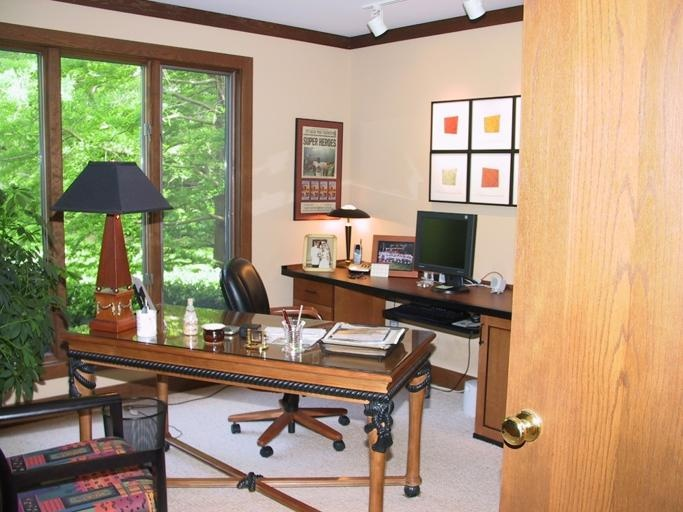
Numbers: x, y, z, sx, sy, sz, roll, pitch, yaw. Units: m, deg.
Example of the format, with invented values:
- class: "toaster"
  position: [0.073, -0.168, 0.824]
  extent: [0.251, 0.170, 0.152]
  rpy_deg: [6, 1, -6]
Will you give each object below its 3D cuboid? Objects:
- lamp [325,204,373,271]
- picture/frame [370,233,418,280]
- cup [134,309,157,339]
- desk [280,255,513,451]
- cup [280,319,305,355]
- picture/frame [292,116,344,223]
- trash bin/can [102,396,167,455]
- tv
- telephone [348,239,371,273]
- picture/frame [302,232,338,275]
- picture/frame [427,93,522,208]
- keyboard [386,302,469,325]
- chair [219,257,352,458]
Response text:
- class: "lamp"
  position: [0.058, -0.173, 4.967]
  extent: [0.376, 0.541, 0.375]
  rpy_deg: [-2, 10, -17]
- class: "picture/frame"
  position: [0.432, 0.012, 4.565]
  extent: [0.394, 0.324, 0.025]
  rpy_deg: [2, -2, 23]
- class: "cup"
  position: [-0.972, 0.348, 2.879]
  extent: [0.130, 0.143, 0.131]
  rpy_deg: [-1, 0, 0]
- class: "desk"
  position: [0.640, 0.590, 4.334]
  extent: [2.340, 0.862, 0.761]
  rpy_deg: [18, 30, 38]
- class: "cup"
  position: [-0.219, 0.389, 2.672]
  extent: [0.142, 0.148, 0.134]
  rpy_deg: [0, 2, 0]
- class: "picture/frame"
  position: [-0.193, -0.769, 5.015]
  extent: [0.172, 0.888, 0.560]
  rpy_deg: [15, 16, 42]
- class: "trash bin/can"
  position: [-0.944, 0.812, 2.598]
  extent: [0.169, 0.168, 0.159]
  rpy_deg: [2, 3, 10]
- class: "tv"
  position: [0.776, -0.031, 4.181]
  extent: [0.601, 0.647, 0.245]
  rpy_deg: [5, 1, 45]
- class: "telephone"
  position: [0.146, 0.020, 4.824]
  extent: [0.225, 0.301, 0.262]
  rpy_deg: [1, 4, 2]
- class: "picture/frame"
  position: [-0.191, -0.020, 4.810]
  extent: [0.382, 0.407, 0.034]
  rpy_deg: [1, -10, 1]
- class: "picture/frame"
  position: [1.016, -0.811, 4.214]
  extent: [1.230, 0.846, 0.046]
  rpy_deg: [3, 4, 40]
- class: "keyboard"
  position: [0.612, 0.398, 3.902]
  extent: [0.293, 0.048, 0.207]
  rpy_deg: [9, 15, 37]
- class: "chair"
  position: [-0.456, 0.587, 4.133]
  extent: [1.139, 1.471, 1.161]
  rpy_deg: [1, 4, 19]
